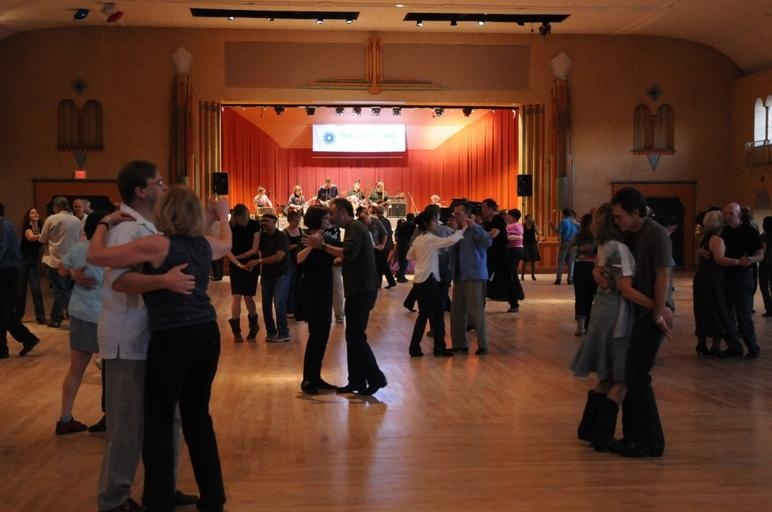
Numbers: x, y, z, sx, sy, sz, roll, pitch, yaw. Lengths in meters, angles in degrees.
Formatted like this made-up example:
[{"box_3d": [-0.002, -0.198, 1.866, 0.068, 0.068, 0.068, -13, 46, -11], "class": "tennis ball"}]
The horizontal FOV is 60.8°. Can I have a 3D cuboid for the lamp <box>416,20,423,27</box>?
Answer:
[{"box_3d": [0.883, -5.994, 16.876, 0.167, 0.102, 0.169, -1, 1, -3], "class": "lamp"}]

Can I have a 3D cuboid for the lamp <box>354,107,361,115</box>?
[{"box_3d": [-0.804, -4.181, 18.792, 0.234, 0.108, 0.262, 0, -42, -4], "class": "lamp"}]

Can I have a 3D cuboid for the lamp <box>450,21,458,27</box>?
[{"box_3d": [1.746, -5.957, 16.790, 0.159, 0.161, 0.261, -2, 7, -3], "class": "lamp"}]

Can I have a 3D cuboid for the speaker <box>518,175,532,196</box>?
[{"box_3d": [3.651, -1.861, 17.220, 0.452, 0.718, 0.365, -1, 2, 2], "class": "speaker"}]

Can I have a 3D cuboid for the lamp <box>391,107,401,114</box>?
[{"box_3d": [0.325, -4.305, 19.419, 0.213, 0.224, 0.170, -1, 32, 0], "class": "lamp"}]

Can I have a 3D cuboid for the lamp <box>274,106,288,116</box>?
[{"box_3d": [-2.976, -4.152, 18.639, 0.380, 0.369, 0.397, -1, -3, -1], "class": "lamp"}]

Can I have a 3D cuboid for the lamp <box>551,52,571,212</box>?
[{"box_3d": [4.785, -3.427, 17.779, 0.632, 4.222, 0.578, 1, 3, 8], "class": "lamp"}]
